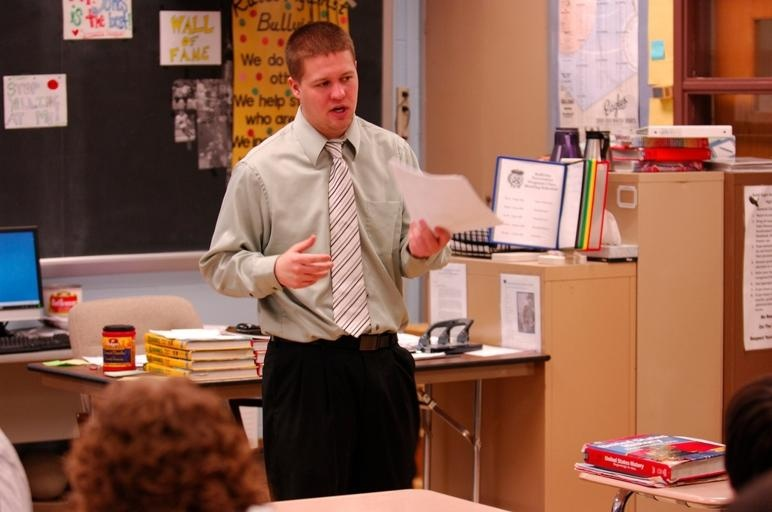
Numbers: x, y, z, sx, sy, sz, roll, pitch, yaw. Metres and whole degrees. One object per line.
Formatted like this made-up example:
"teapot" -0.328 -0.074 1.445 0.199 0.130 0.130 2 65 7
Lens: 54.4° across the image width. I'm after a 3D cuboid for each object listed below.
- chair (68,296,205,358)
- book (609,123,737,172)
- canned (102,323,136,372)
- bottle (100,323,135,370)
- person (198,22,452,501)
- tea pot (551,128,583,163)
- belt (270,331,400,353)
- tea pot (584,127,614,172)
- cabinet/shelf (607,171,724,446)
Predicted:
"chair" -1.191 0.279 3.457 0.384 0.388 0.315 -2 -8 -30
"book" 1.321 -0.494 3.439 0.547 0.200 0.276 0 5 15
"canned" -1.054 0.374 2.963 0.123 0.183 0.123 -1 -2 19
"bottle" -1.054 0.371 2.966 0.122 0.188 0.125 0 0 0
"person" -0.190 0.140 2.564 0.704 1.317 0.465 -5 6 -35
"tea pot" 0.832 -0.517 3.453 0.146 0.159 0.219 0 5 14
"belt" -0.176 0.285 2.505 0.431 0.063 0.097 -2 5 -6
"tea pot" 0.963 -0.484 3.385 0.117 0.210 0.199 -9 13 -38
"cabinet/shelf" 1.407 0.254 3.703 0.483 1.378 0.696 -2 2 8
